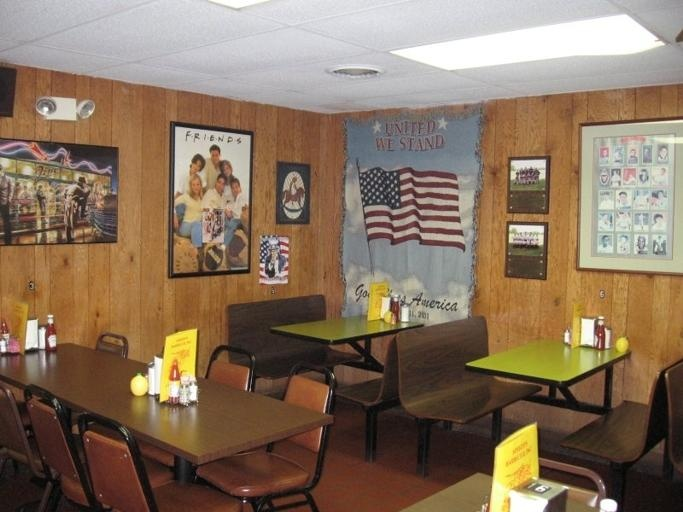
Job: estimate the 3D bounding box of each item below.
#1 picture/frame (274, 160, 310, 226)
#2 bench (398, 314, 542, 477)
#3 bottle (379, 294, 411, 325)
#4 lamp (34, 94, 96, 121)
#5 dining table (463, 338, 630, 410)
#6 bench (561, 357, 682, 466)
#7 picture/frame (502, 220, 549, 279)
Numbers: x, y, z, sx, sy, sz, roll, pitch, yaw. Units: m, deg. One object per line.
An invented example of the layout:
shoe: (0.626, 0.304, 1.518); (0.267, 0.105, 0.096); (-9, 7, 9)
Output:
picture/frame: (-0.534, -0.687, 6.088); (0.078, 0.686, 0.499); (9, 12, 40)
bench: (1.014, 1.111, 4.372); (0.539, 0.945, 1.203); (-1, 2, 40)
bottle: (0.554, 0.536, 5.549); (0.297, 0.318, 0.233); (0, 1, -8)
lamp: (-2.220, -1.184, 4.467); (0.455, 0.193, 0.136); (-4, 10, -34)
dining table: (1.556, 0.839, 4.172); (0.624, 0.530, 1.097); (1, 4, 37)
bench: (2.091, 1.140, 4.068); (0.446, 0.390, 1.017); (0, 1, 40)
picture/frame: (1.721, -0.063, 5.100); (0.524, 0.715, 0.075); (3, 2, 37)
